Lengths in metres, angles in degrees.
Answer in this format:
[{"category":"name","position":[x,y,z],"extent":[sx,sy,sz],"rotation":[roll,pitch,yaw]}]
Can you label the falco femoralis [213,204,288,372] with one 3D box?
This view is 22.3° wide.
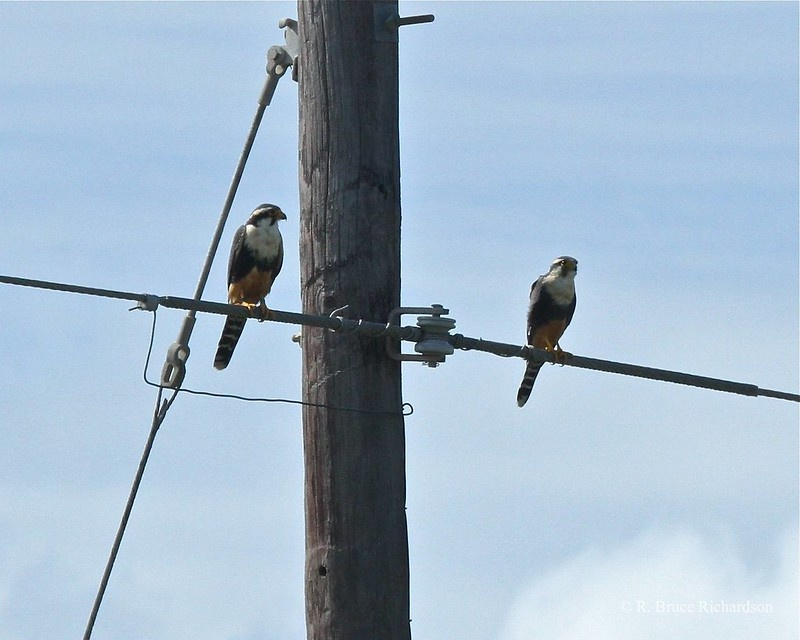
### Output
[{"category":"falco femoralis","position":[-1.071,-0.264,14.020],"extent":[0.350,0.693,1.240],"rotation":[7,-31,-24]}]
